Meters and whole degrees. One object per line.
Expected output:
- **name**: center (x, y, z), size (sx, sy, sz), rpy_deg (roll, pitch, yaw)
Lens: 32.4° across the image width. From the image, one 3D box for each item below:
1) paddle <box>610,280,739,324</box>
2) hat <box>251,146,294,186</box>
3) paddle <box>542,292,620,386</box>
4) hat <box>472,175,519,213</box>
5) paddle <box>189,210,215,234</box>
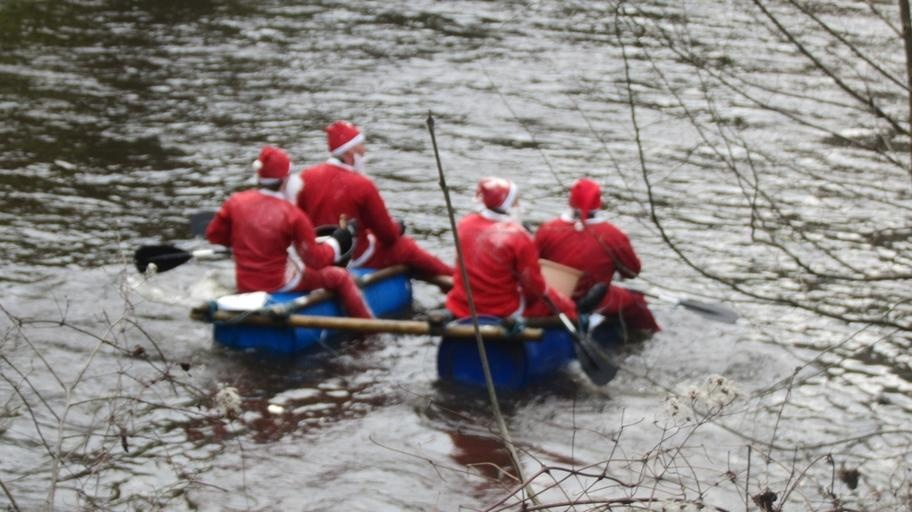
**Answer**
- **paddle**: center (3.298, 0.772, 23.864), size (2.599, 0.085, 0.559), rpy_deg (11, 19, 14)
- **hat**: center (-2.731, -1.361, 22.894), size (0.466, 0.459, 0.615), rpy_deg (19, 24, 30)
- **paddle**: center (1.713, 1.228, 22.926), size (1.827, 0.611, 0.186), rpy_deg (44, 4, 3)
- **hat**: center (0.534, -0.899, 22.625), size (0.712, 0.389, 0.425), rpy_deg (1, 22, -11)
- **paddle**: center (-3.925, -0.533, 24.363), size (0.393, 0.151, 0.380), rpy_deg (6, 48, 0)
